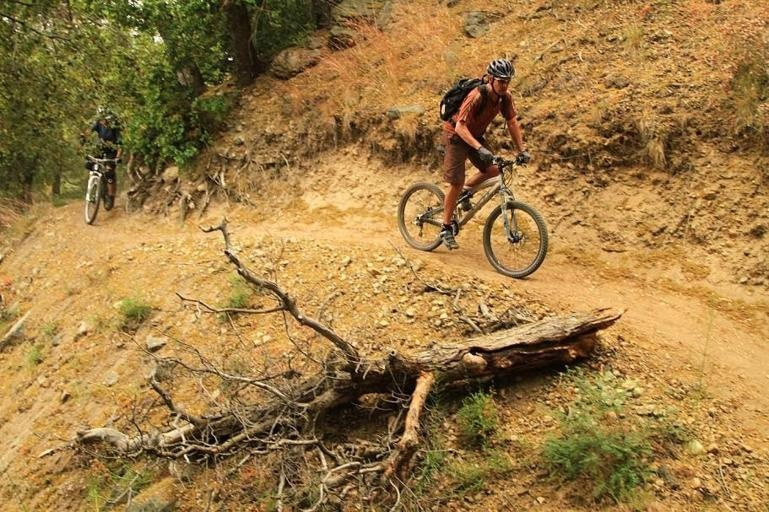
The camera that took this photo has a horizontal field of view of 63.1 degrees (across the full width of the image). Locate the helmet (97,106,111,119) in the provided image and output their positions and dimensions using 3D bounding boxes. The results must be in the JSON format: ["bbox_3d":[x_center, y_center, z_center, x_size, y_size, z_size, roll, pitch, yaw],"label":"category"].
[{"bbox_3d":[-7.297,-3.707,16.300,0.436,0.328,0.209,18,26,40],"label":"helmet"}]

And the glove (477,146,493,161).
[{"bbox_3d":[1.760,-1.753,10.850,0.265,0.257,0.196,3,19,8],"label":"glove"}]

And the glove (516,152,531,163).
[{"bbox_3d":[2.443,-1.711,10.972,0.158,0.211,0.218,16,7,-8],"label":"glove"}]

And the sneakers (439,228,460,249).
[{"bbox_3d":[1.231,-0.308,11.732,0.181,0.235,0.512,-11,30,-17],"label":"sneakers"}]
